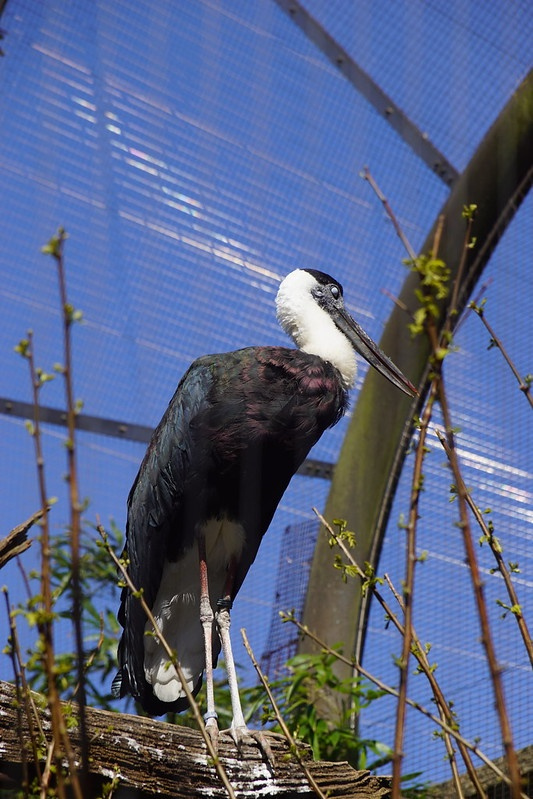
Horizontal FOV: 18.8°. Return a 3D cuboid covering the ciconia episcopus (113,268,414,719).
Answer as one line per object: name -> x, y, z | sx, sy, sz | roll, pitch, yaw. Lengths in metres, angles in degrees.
ciconia episcopus -> -0.081, 0.276, 6.500 | 0.921, 1.802, 0.764 | 2, -7, -6
